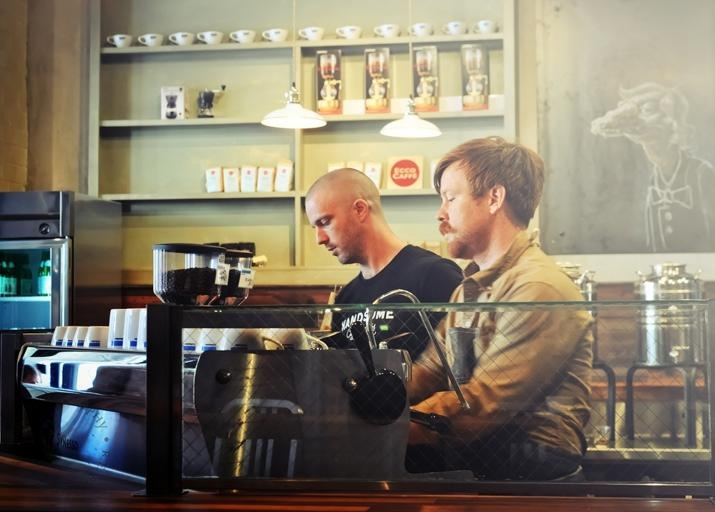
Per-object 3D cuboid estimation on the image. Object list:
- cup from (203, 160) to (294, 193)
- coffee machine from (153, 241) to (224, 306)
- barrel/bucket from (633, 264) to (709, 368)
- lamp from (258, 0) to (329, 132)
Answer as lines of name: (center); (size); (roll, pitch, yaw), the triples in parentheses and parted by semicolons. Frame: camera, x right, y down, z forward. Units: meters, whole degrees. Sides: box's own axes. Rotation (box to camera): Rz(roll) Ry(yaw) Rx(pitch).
cup: (-0.685, -0.489, 5.496); (0.556, 0.186, 0.129); (0, 6, 13)
coffee machine: (-0.663, 0.067, 3.483); (0.229, 0.210, 0.245); (0, -8, 1)
barrel/bucket: (1.121, 0.199, 3.166); (0.259, 0.366, 0.229); (0, -4, 8)
lamp: (-0.430, -0.934, 4.914); (0.366, 0.862, 0.393); (-1, -1, 42)
